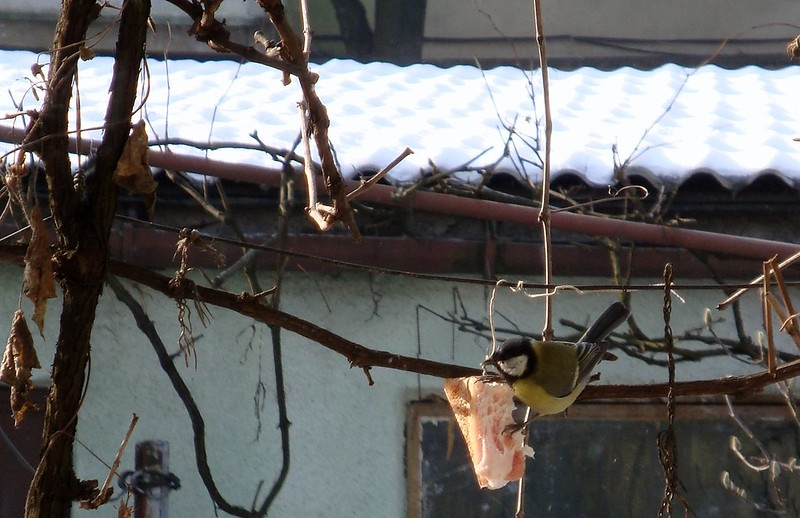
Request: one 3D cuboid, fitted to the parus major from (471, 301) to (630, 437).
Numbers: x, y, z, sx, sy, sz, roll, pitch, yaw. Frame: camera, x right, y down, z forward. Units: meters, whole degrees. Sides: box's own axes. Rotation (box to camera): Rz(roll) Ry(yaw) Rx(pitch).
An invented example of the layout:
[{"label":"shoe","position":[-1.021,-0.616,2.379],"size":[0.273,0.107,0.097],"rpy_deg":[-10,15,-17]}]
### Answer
[{"label":"parus major","position":[1.249,0.846,16.649],"size":[1.345,0.860,0.542],"rpy_deg":[-14,26,-27]}]
